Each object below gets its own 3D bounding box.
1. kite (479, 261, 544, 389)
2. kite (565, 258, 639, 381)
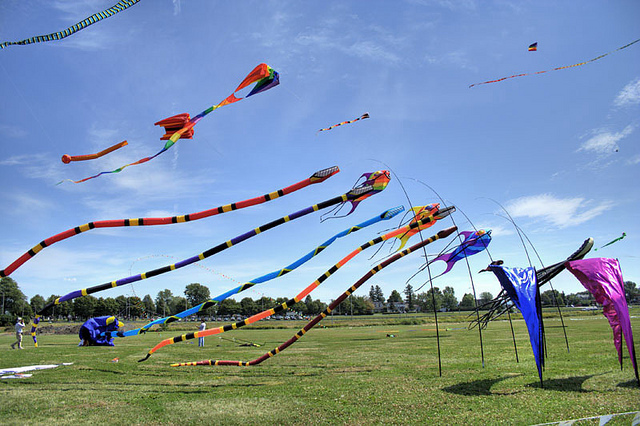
[{"bbox_3d":[10.819,5.669,23.466,1.874,6.351,2.896,-10,-19,23],"label":"kite"},{"bbox_3d":[16.385,6.068,25.783,2.596,6.685,3.714,-11,-19,26],"label":"kite"}]
